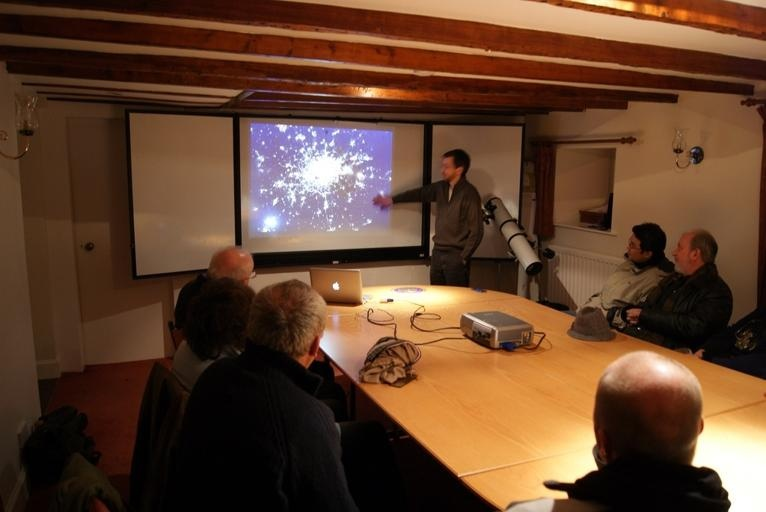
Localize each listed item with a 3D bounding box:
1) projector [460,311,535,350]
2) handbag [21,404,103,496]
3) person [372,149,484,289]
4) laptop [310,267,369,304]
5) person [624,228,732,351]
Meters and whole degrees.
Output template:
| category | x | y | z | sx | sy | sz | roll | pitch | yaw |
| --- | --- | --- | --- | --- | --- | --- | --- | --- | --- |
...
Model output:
| category | x | y | z | sx | sy | sz | roll | pitch | yaw |
| --- | --- | --- | --- | --- | --- | --- | --- | --- | --- |
| projector | 0.780 | 0.503 | 3.845 | 0.387 | 0.214 | 0.499 | 4 | 7 | -24 |
| handbag | -2.495 | 1.431 | 4.152 | 0.480 | 0.429 | 0.574 | -10 | 13 | -32 |
| person | 0.663 | -0.446 | 6.285 | 0.419 | 1.528 | 1.144 | -10 | 13 | -32 |
| laptop | -0.364 | 0.227 | 4.723 | 0.472 | 0.322 | 0.356 | 0 | 14 | 11 |
| person | 2.392 | 0.326 | 4.451 | 0.714 | 1.091 | 0.628 | 6 | 9 | 10 |
